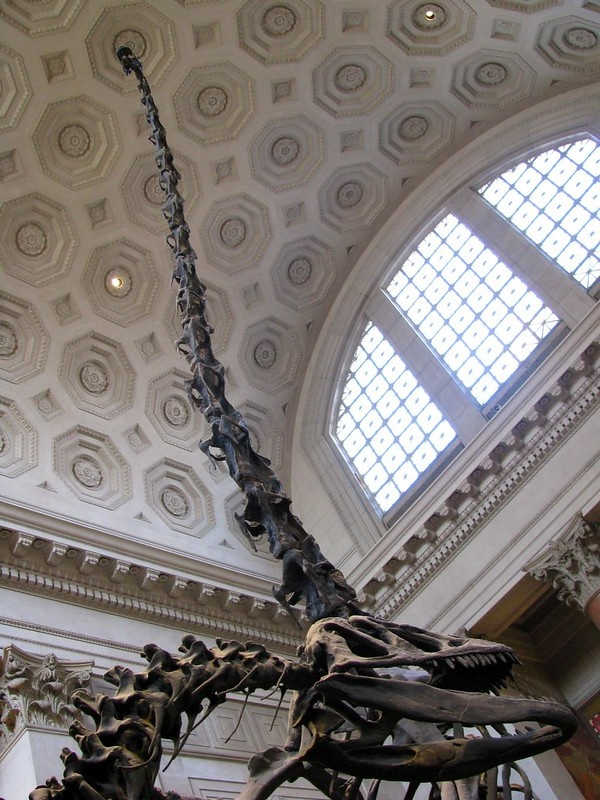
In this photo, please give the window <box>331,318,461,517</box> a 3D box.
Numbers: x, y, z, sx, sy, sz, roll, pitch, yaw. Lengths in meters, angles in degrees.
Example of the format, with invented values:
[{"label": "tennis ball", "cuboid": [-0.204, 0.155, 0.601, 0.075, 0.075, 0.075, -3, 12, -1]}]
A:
[{"label": "window", "cuboid": [1.142, 0.254, 10.264, 0.109, 2.320, 1.334, 18, -66, -33]}]
